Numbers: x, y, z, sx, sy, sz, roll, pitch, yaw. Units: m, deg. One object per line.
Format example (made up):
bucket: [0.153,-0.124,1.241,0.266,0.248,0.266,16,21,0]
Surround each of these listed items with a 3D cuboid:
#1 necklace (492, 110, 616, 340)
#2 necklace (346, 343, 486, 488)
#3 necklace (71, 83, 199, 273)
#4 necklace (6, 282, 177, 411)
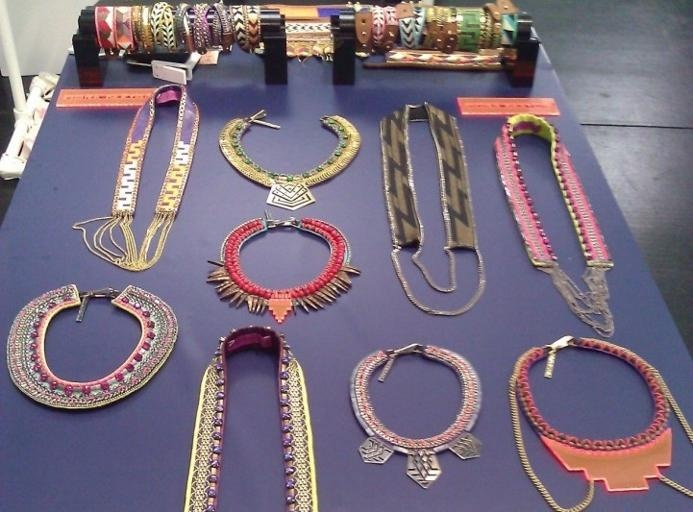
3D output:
necklace: [0.946,-0.179,3.740,0.341,0.129,1.130,-3,49,-9]
necklace: [0.283,0.596,3.122,0.511,0.037,0.588,-5,53,-4]
necklace: [-0.910,-0.418,3.678,0.422,0.108,0.886,3,51,0]
necklace: [-1.014,0.349,3.260,0.672,0.041,0.564,0,53,0]
